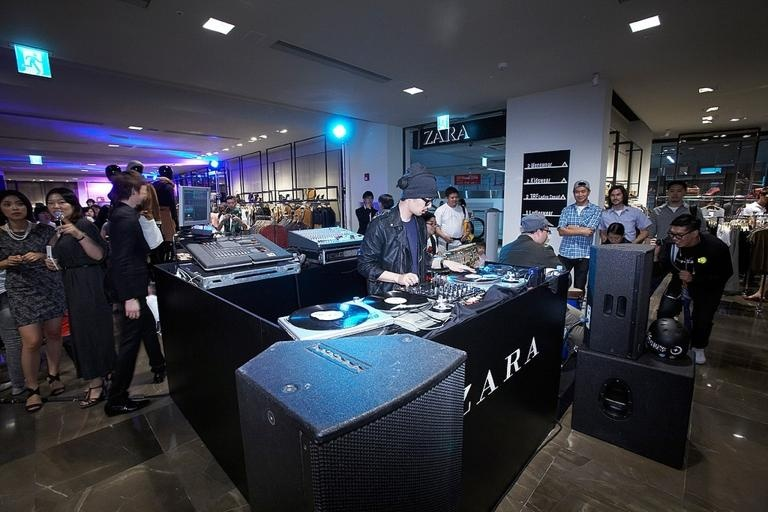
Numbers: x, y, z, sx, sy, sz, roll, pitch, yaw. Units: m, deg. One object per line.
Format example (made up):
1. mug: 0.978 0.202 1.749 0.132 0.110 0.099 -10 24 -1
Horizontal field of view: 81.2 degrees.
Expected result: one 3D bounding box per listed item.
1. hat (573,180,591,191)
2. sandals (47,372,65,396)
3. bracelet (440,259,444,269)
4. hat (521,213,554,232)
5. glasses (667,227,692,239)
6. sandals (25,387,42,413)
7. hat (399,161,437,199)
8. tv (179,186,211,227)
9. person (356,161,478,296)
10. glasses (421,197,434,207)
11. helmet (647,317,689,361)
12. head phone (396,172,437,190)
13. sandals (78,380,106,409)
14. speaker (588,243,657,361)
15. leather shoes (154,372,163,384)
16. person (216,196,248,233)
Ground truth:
1. hat: 2.912 -1.035 6.561 0.205 0.106 0.298 -3 12 42
2. sandals: -3.588 1.421 4.884 0.322 0.126 0.111 5 -1 37
3. bracelet: 0.545 0.074 4.205 0.029 0.077 0.049 1 10 10
4. hat: 1.679 -0.370 4.901 0.319 0.158 0.220 -15 17 -23
5. glasses: 3.293 -0.245 4.976 0.178 0.144 0.075 5 12 32
6. sandals: -3.676 1.517 4.685 0.363 0.140 0.121 2 0 39
7. hat: 0.306 -0.715 4.249 0.360 0.296 0.297 2 19 22
8. tv: -1.891 -0.489 4.437 0.144 0.395 0.415 3 6 27
9. person: 0.211 -0.225 4.153 0.765 1.209 0.705 -7 12 -29
10. glasses: 0.396 -0.500 4.211 0.102 0.100 0.030 -3 14 -29
11. helmet: 2.641 0.776 4.210 0.306 0.336 0.401 -1 16 28
12. head phone: 0.300 -0.687 4.159 0.234 0.106 0.205 6 20 29
13. sandals: -3.103 1.481 4.762 0.140 0.156 0.398 0 -2 -24
14. speaker: 2.205 0.423 4.208 0.506 1.049 0.245 4 12 26
15. leather shoes: -2.550 1.389 5.066 0.097 0.124 0.123 27 -24 -22
16. person: -3.146 -0.858 9.176 0.474 0.654 1.405 -5 11 -18
